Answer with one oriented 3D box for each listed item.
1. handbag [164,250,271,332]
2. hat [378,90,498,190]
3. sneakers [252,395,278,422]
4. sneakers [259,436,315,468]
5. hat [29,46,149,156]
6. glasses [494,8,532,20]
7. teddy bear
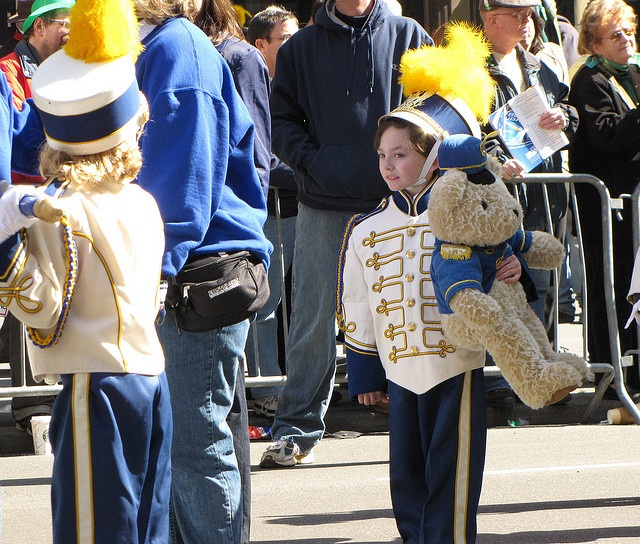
[{"bbox_3d":[-0.427,0.059,6.068,0.464,0.269,0.246,-19,27,-29],"label":"handbag"},{"bbox_3d":[0.519,-0.542,6.478,0.477,0.165,0.324,15,5,-42],"label":"hat"},{"bbox_3d":[-0.296,0.726,8.551,0.215,0.122,0.078,-1,6,14],"label":"sneakers"},{"bbox_3d":[-0.178,0.886,7.641,0.278,0.106,0.111,8,-14,-31],"label":"sneakers"},{"bbox_3d":[-0.830,-0.603,5.630,0.394,0.236,0.369,-9,48,-12],"label":"hat"},{"bbox_3d":[1.017,-1.369,8.406,0.219,0.078,0.115,-4,14,-3],"label":"glasses"},{"bbox_3d":[0.686,-0.004,6.104,0.451,1.003,0.551,-11,17,-21],"label":"teddy bear"}]
